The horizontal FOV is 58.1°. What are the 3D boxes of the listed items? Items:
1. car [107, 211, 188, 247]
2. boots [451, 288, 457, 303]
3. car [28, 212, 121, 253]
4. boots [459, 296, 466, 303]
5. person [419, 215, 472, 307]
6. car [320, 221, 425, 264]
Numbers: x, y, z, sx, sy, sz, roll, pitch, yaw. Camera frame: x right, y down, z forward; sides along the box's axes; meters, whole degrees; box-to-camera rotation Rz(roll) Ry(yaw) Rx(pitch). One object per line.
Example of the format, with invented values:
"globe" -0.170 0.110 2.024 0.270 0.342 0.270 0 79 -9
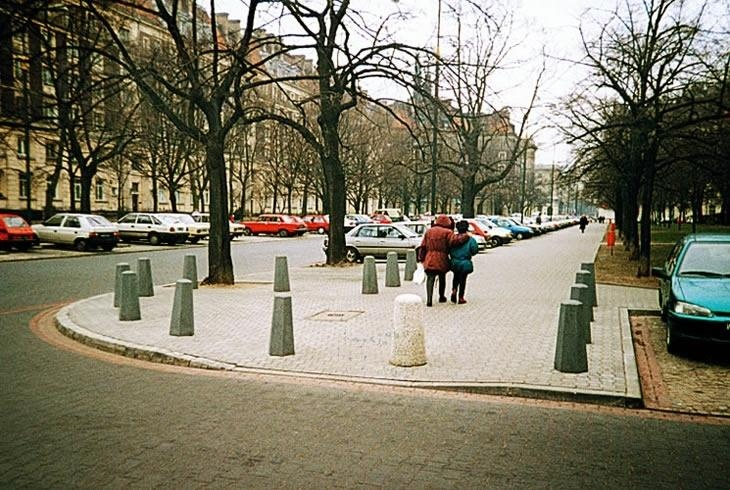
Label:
"car" -12.293 -0.958 38.292 3.955 1.431 1.915 6 6 27
"boots" 2.262 1.301 16.828 0.118 0.389 0.156 -2 -1 11
"car" -14.164 -0.609 32.396 3.608 1.853 1.262 4 12 18
"boots" 2.469 1.426 16.774 0.115 0.212 0.210 -2 -2 -5
"person" 1.882 0.398 16.492 1.083 2.373 1.112 2 12 7
"car" 0.541 -0.092 27.495 3.613 1.340 1.738 -2 4 5
